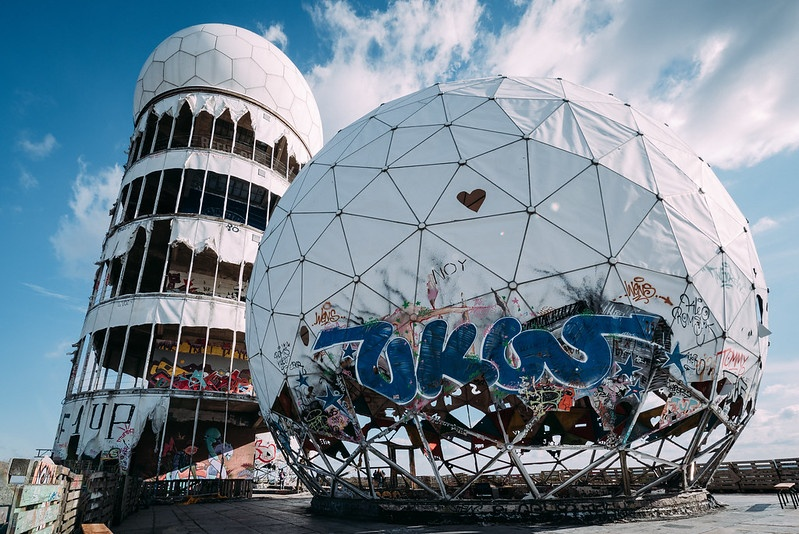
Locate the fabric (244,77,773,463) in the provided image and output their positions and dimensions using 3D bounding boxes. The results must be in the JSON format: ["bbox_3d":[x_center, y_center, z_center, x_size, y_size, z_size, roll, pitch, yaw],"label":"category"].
[{"bbox_3d":[3.894,1.695,32.450,23.963,15.266,24.444,-5,-14,16],"label":"fabric"}]

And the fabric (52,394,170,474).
[{"bbox_3d":[-18.225,10.775,37.107,7.184,4.376,7.462,12,-19,-40],"label":"fabric"}]

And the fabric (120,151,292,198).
[{"bbox_3d":[-15.709,-7.840,44.460,13.319,2.763,7.958,-8,23,-10],"label":"fabric"}]

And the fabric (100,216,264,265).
[{"bbox_3d":[-14.909,-1.727,39.440,9.577,3.672,2.254,-5,12,-5],"label":"fabric"}]

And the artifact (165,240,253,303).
[{"bbox_3d":[-13.764,-0.412,42.620,5.222,3.238,5.272,-7,-18,34],"label":"artifact"}]
